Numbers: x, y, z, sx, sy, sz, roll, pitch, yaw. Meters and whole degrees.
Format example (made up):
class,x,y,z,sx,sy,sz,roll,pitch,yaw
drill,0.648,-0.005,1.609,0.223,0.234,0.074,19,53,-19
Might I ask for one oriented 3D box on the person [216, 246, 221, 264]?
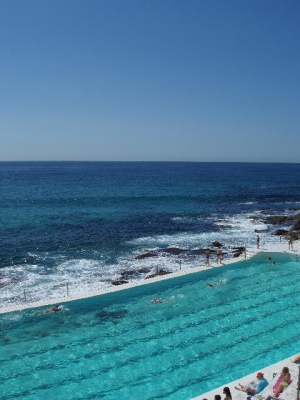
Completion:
class,x,y,z,sx,sy,sz,roll,pitch,yaw
person,4.651,3.763,24.072,0.275,0.907,1.150,-1,5,9

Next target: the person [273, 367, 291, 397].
class,x,y,z,sx,sy,sz,roll,pitch,yaw
person,3.606,4.988,9.743,0.493,0.787,0.989,0,5,21

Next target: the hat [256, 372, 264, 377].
class,x,y,z,sx,sy,sz,roll,pitch,yaw
hat,3.183,5.126,10.403,0.180,0.065,0.194,-1,-2,-29
